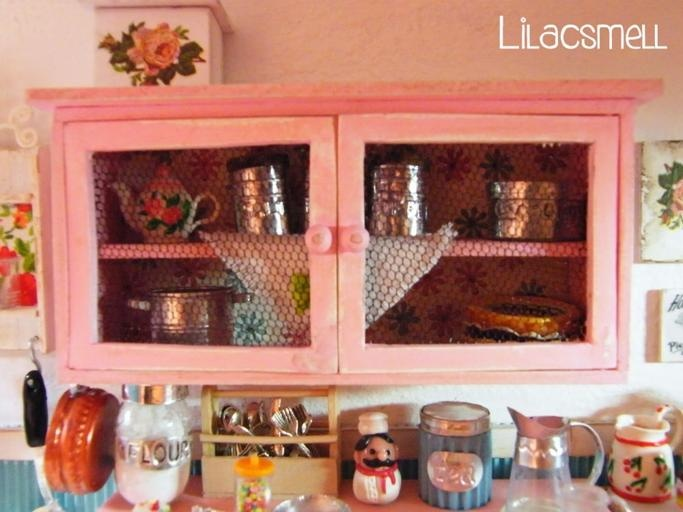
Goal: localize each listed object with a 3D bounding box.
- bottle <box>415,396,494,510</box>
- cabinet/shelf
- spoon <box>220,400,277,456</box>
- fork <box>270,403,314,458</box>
[{"bbox_3d":[0.271,0.484,2.032,0.208,0.231,0.210,-2,5,-22],"label":"bottle"},{"bbox_3d":[0.001,-0.047,1.992,1.363,0.736,0.301,-1,17,1],"label":"cabinet/shelf"},{"bbox_3d":[-0.247,0.437,2.053,0.108,0.059,0.151,1,13,0],"label":"spoon"},{"bbox_3d":[-0.121,0.437,2.032,0.081,0.144,0.025,-10,-17,-35],"label":"fork"}]
